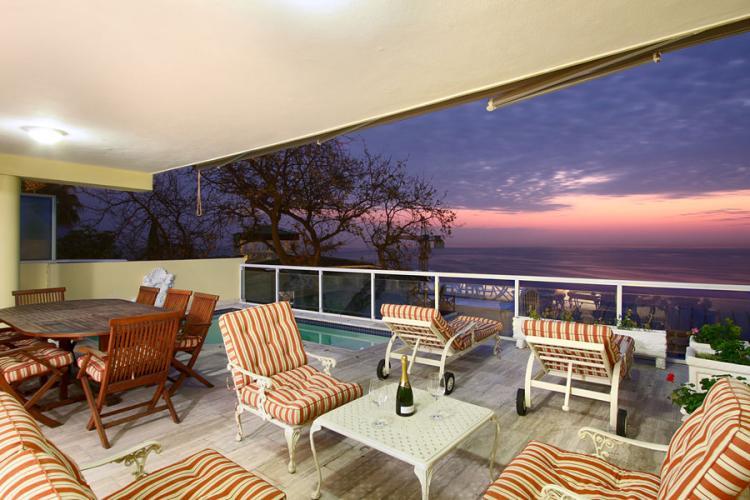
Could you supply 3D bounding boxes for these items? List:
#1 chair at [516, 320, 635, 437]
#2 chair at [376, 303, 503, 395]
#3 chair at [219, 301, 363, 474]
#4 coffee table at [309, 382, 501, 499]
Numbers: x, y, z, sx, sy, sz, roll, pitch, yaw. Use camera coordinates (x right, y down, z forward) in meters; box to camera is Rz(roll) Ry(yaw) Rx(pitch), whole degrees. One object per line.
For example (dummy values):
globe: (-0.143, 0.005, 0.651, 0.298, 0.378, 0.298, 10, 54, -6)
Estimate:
chair: (2.401, 1.258, 4.964, 1.096, 0.892, 1.522, 1, 10, 29)
chair: (1.035, 1.164, 6.209, 1.066, 0.910, 1.787, 2, 8, 40)
chair: (-0.948, 1.395, 4.663, 1.359, 1.220, 0.997, 13, 14, 39)
coffee table: (0.156, 1.582, 3.883, 1.254, 0.563, 1.209, 1, 4, 41)
